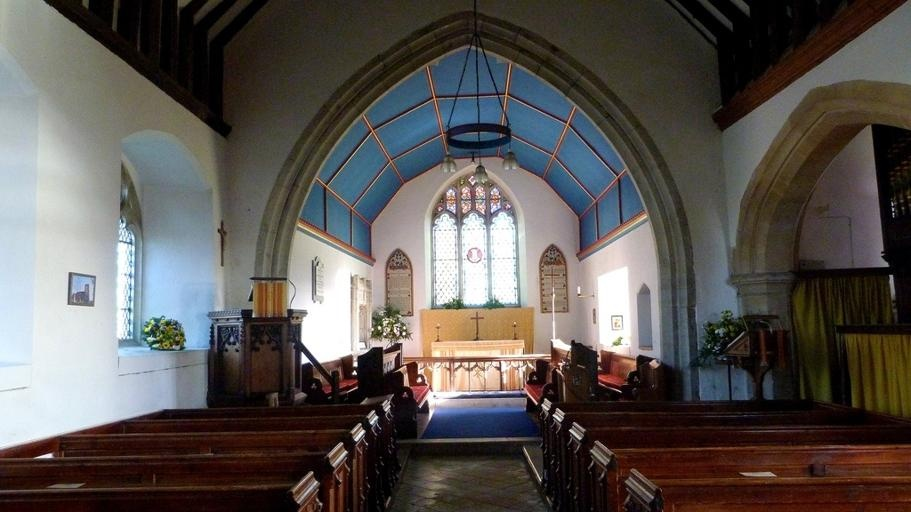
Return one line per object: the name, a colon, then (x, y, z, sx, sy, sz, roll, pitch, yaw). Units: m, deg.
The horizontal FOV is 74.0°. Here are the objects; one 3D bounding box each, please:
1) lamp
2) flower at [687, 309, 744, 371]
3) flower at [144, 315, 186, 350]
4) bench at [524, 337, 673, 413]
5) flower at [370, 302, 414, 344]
lamp: (0.586, -3.361, 13.668, 1.248, 4.172, 0.969, -1, 3, -3)
flower: (4.405, 1.384, 10.167, 0.712, 0.947, 0.878, -1, -8, -3)
flower: (-4.592, 1.204, 9.535, 0.583, 0.329, 0.572, 5, 4, 1)
bench: (2.687, 2.181, 11.080, 1.041, 0.688, 1.805, -1, -2, -7)
flower: (-1.701, 1.807, 16.520, 1.159, 1.096, 1.006, 1, -6, -11)
